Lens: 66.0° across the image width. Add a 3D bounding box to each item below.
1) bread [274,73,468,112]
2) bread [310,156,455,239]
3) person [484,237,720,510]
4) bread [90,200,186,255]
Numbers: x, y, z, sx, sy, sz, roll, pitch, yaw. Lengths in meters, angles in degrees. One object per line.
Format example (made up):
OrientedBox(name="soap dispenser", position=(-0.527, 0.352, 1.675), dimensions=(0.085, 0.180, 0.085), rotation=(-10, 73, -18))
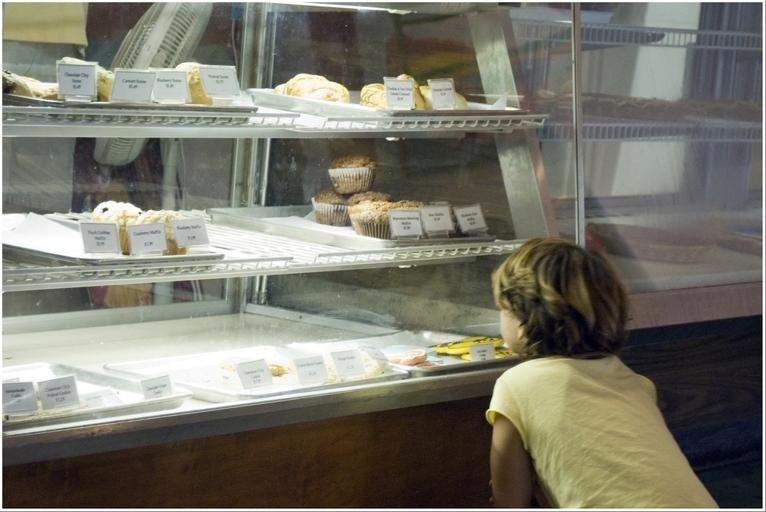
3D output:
OrientedBox(name="bread", position=(-0.036, -0.635, 2.262), dimensions=(0.719, 0.193, 0.276), rotation=(-6, 6, -13))
OrientedBox(name="bread", position=(-0.055, -0.223, 2.384), dimensions=(0.557, 0.181, 0.333), rotation=(21, 18, 28))
OrientedBox(name="person", position=(0.644, 0.359, 1.810), dimensions=(0.615, 0.817, 0.393), rotation=(-4, 7, 25))
OrientedBox(name="bread", position=(-0.845, -0.108, 1.959), dimensions=(0.193, 0.092, 0.275), rotation=(-8, 15, -42))
